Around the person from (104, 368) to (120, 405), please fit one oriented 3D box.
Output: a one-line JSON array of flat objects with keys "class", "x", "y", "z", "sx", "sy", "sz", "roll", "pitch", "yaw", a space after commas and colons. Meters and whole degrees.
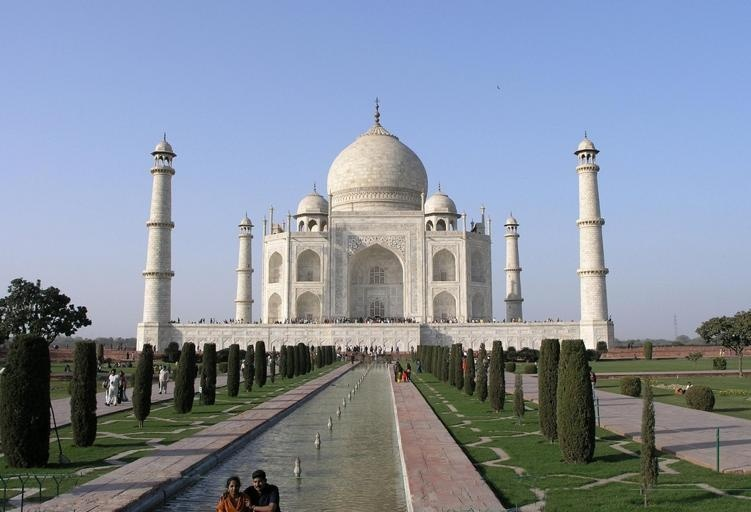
[{"class": "person", "x": -6.649, "y": 3.320, "z": 19.269, "sx": 0.328, "sy": 0.853, "sz": 0.929, "roll": 1, "pitch": -7, "yaw": -19}]
